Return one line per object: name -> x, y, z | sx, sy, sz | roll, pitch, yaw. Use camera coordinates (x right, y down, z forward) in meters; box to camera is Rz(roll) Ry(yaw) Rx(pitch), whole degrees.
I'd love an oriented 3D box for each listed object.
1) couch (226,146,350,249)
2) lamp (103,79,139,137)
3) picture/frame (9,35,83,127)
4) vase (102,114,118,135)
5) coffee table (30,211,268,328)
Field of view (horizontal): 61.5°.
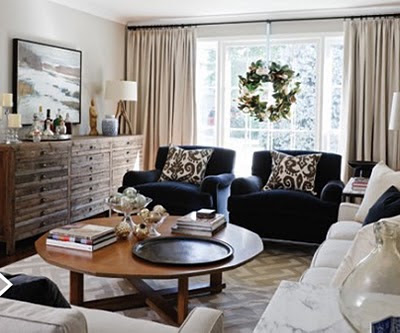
couch -> 1.016, 0.433, 3.886 | 1.335, 1.101, 0.998 | 1, 1, 21
lamp -> -1.191, -0.909, 5.141 | 0.548, 0.764, 0.557 | 0, 12, -19
picture/frame -> -1.936, -1.070, 4.355 | 1.223, 0.941, 0.031 | 13, 14, 24
vase -> -1.291, -0.596, 4.899 | 0.236, 0.292, 0.225 | 10, 14, 30
coffee table -> -0.320, 0.623, 1.983 | 0.897, 0.254, 0.910 | 0, 9, 1
